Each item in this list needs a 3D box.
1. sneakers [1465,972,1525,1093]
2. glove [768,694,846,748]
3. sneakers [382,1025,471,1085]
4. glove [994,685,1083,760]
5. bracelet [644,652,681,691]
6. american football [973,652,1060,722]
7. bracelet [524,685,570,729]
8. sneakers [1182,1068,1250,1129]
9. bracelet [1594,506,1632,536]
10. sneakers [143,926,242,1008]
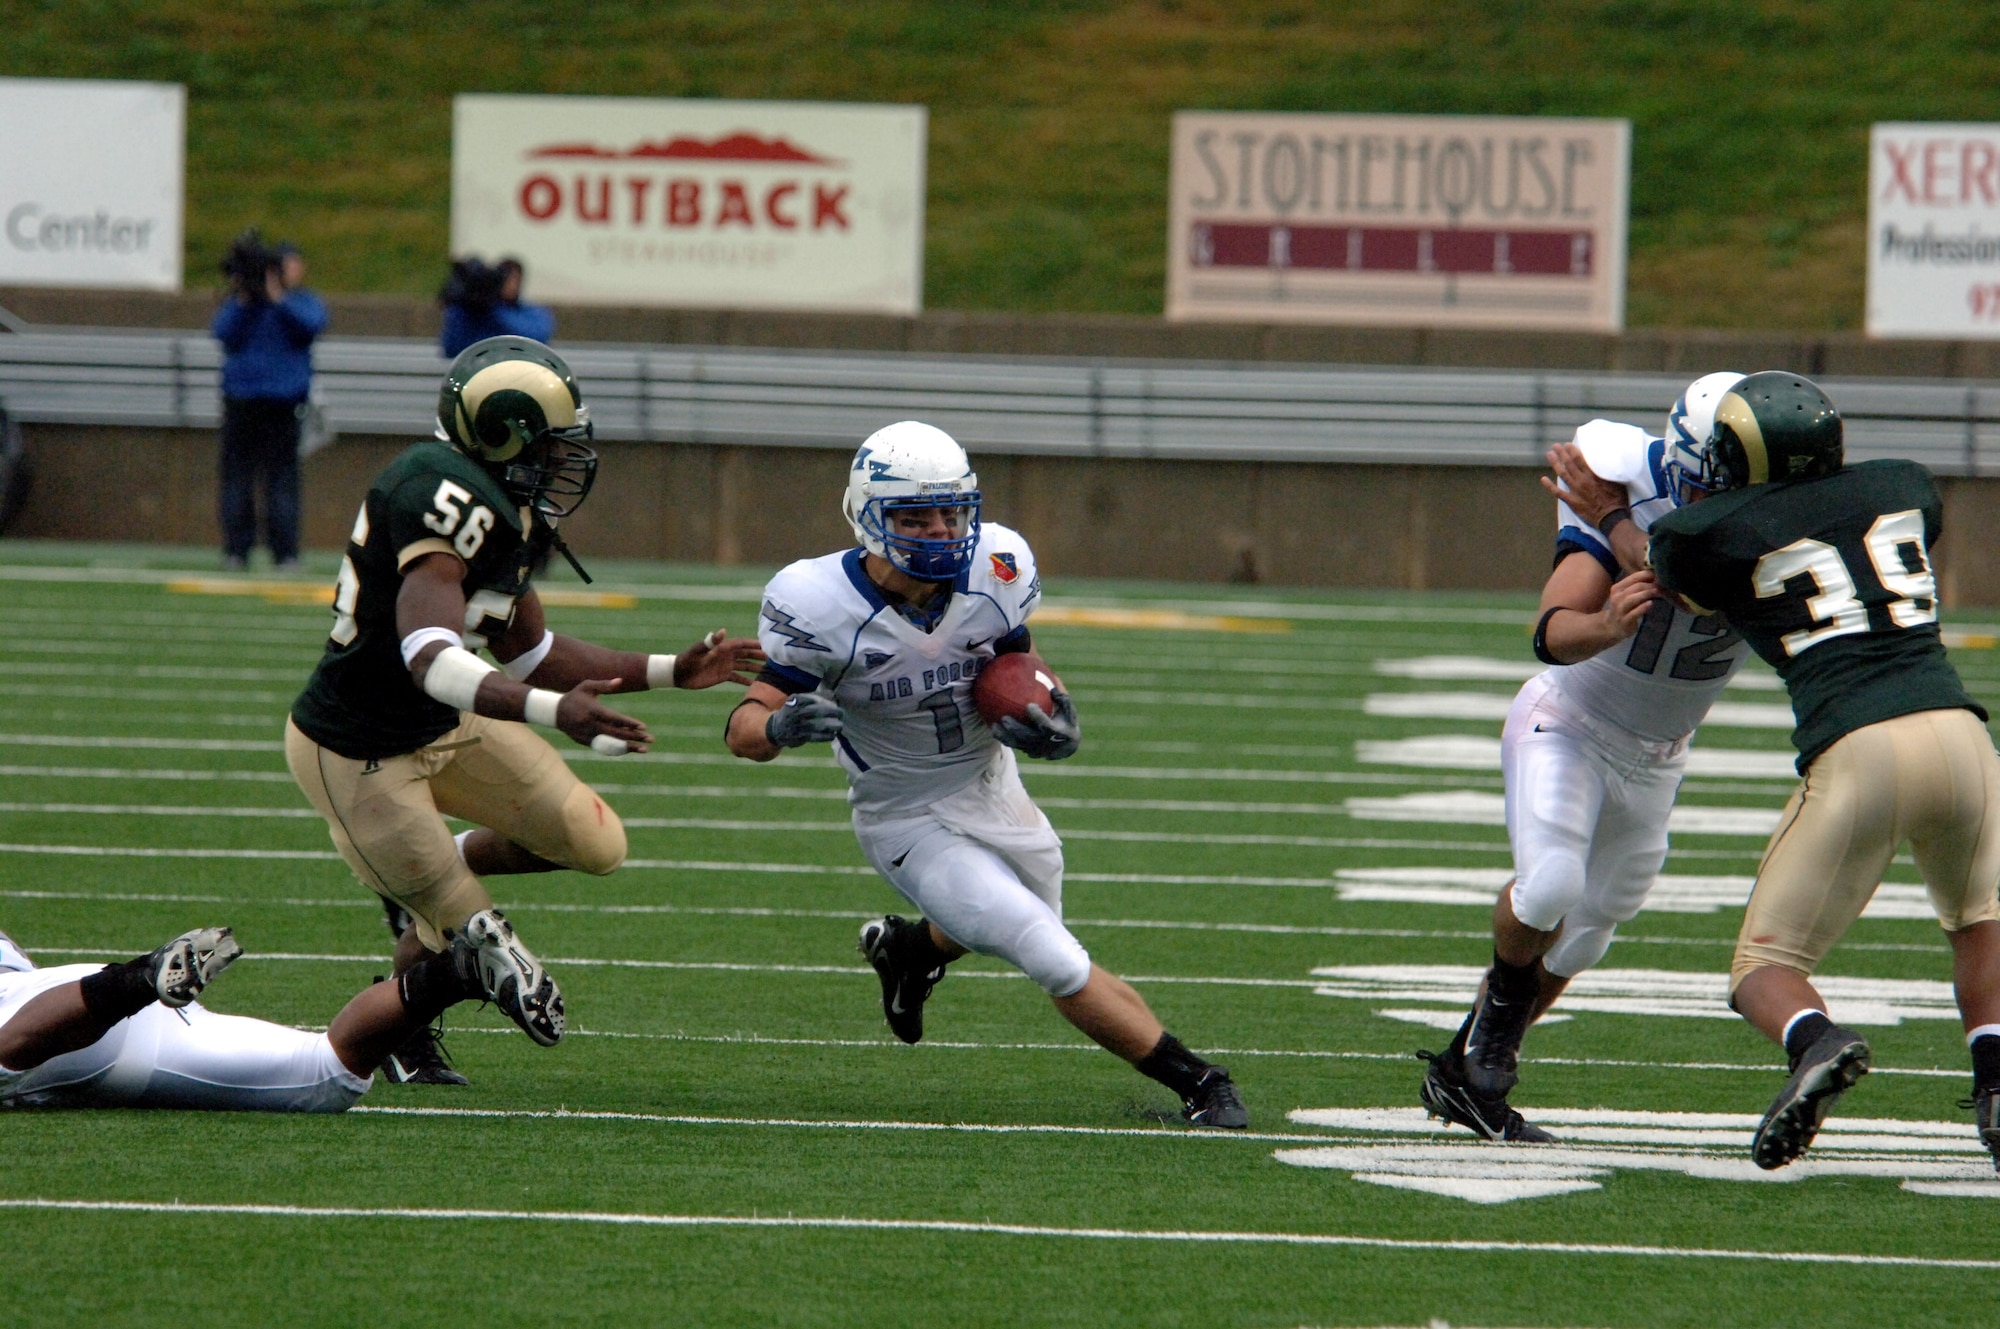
[{"bbox_3d":[2.077,1.539,17.248,0.201,0.533,0.241,6,-3,-8],"label":"sneakers"},{"bbox_3d":[-0.803,0.228,16.960,0.270,0.119,0.201,2,6,37],"label":"glove"},{"bbox_3d":[-2.393,1.665,17.390,0.486,0.192,0.159,-1,-8,36],"label":"sneakers"},{"bbox_3d":[0.181,0.264,17.293,0.337,0.304,0.258,-37,10,14],"label":"glove"},{"bbox_3d":[-1.429,0.027,17.409,0.129,0.108,0.150,13,17,34],"label":"bracelet"},{"bbox_3d":[0.051,0.075,17.279,0.335,0.271,0.292,-12,12,37],"label":"american football"},{"bbox_3d":[-1.869,0.173,16.864,0.163,0.154,0.171,0,4,13],"label":"bracelet"},{"bbox_3d":[0.887,1.801,17.166,0.278,0.256,0.105,0,4,1],"label":"sneakers"},{"bbox_3d":[2.563,-0.604,17.192,0.093,0.041,0.117,-19,-16,-48],"label":"bracelet"},{"bbox_3d":[-3.356,1.193,16.772,0.416,0.224,0.179,-22,37,-14],"label":"sneakers"}]
